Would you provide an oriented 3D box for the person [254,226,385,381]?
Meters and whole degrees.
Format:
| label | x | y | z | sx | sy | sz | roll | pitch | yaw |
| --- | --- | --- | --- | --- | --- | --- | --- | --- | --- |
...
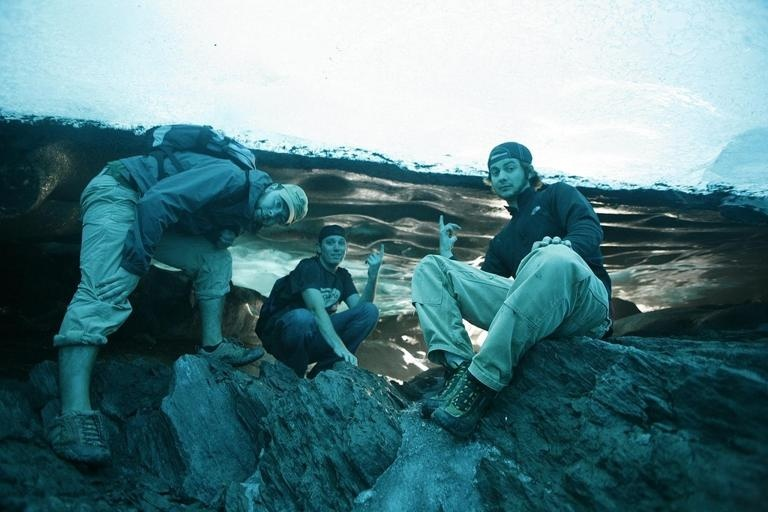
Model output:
| label | x | y | z | sx | sy | sz | roll | pitch | yaw |
| --- | --- | --- | --- | --- | --- | --- | --- | --- | --- |
| person | -0.726 | 0.540 | 5.775 | 1.444 | 1.516 | 1.124 | -2 | -17 | 13 |

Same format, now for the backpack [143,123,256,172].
| label | x | y | z | sx | sy | sz | roll | pitch | yaw |
| --- | --- | --- | --- | --- | --- | --- | --- | --- | --- |
| backpack | -1.649 | -1.032 | 4.890 | 0.689 | 0.249 | 0.482 | 12 | 25 | -27 |
